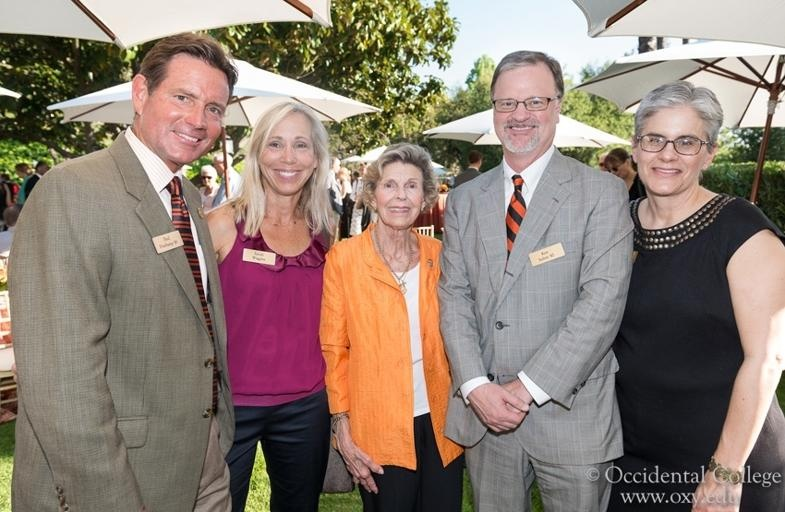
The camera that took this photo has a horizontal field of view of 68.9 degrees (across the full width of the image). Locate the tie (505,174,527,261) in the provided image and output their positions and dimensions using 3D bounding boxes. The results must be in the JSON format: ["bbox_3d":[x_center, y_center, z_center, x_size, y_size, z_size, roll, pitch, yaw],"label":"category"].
[{"bbox_3d":[0.729,-0.227,3.401,0.111,0.505,0.065,0,-17,20],"label":"tie"}]

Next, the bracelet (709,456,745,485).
[{"bbox_3d":[1.769,1.133,3.018,0.117,0.097,0.138,8,-7,-15],"label":"bracelet"}]

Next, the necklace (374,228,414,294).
[{"bbox_3d":[0.026,0.042,3.767,0.205,0.382,0.101,-15,-10,-30],"label":"necklace"}]
